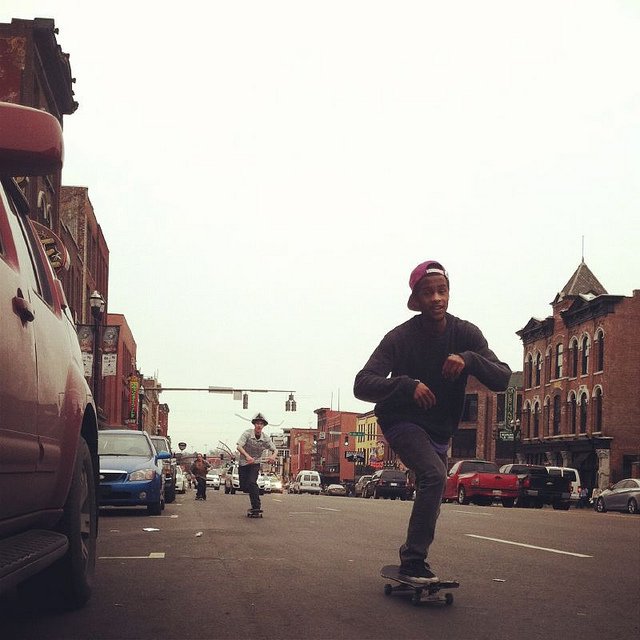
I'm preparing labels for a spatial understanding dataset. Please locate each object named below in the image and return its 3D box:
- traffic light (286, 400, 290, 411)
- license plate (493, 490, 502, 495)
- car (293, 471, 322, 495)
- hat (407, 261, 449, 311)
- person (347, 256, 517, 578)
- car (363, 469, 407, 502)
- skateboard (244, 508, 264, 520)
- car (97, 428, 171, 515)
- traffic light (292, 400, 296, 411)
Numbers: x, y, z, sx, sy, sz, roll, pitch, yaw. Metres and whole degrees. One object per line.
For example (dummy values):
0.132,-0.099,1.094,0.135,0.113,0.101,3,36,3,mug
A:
-2.189,5.774,52.251,0.284,0.477,0.288,0,-9,17,traffic light
7.618,7.424,33.434,0.351,0.203,0.043,5,-8,-8,license plate
-1.319,16.941,80.161,1.781,1.998,3.327,1,-3,-9,car
0.717,-0.238,5.333,0.282,0.356,0.239,-1,-9,24,hat
0.724,0.655,5.258,0.997,2.135,0.600,2,-8,2,person
3.644,9.339,43.984,1.157,1.319,2.869,2,-8,-9,car
-1.246,3.821,15.194,0.189,0.241,0.433,4,-4,-30,skateboard
-3.803,3.087,15.648,1.349,1.567,2.052,6,-10,-16,car
-1.798,5.819,52.653,0.129,0.558,0.473,0,-9,13,traffic light
